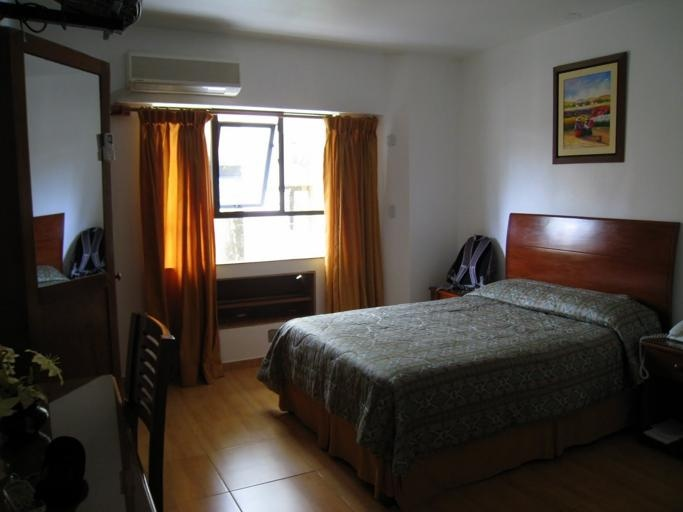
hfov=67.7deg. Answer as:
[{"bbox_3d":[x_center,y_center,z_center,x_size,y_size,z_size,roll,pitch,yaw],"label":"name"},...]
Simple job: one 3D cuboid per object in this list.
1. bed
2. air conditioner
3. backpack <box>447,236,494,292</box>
[{"bbox_3d":[1.122,0.850,3.921,2.489,1.719,1.793,-12,14,-34],"label":"bed"},{"bbox_3d":[-1.353,-1.527,4.485,0.921,0.338,0.291,-2,-21,-15],"label":"air conditioner"},{"bbox_3d":[1.366,0.089,5.364,0.199,0.610,0.404,5,13,-43],"label":"backpack"}]
